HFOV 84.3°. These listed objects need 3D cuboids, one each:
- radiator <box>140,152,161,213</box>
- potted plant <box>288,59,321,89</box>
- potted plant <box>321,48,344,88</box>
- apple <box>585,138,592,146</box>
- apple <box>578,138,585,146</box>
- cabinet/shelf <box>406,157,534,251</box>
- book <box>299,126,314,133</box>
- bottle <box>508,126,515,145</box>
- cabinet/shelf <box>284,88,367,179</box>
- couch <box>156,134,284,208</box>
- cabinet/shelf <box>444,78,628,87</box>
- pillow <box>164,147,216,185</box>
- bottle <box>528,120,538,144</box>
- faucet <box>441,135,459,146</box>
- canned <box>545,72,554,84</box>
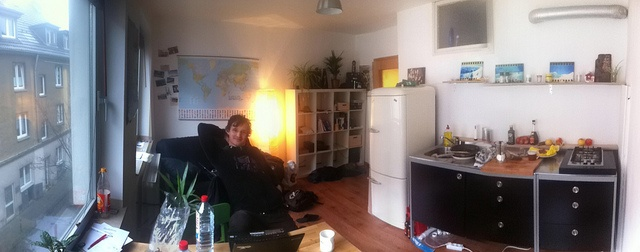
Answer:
[{"bbox_3d":[-3.296,1.132,6.845,0.420,0.770,1.096,0,10,-16],"label":"radiator"},{"bbox_3d":[-0.380,-1.316,9.126,0.906,0.479,0.802,-3,6,-25],"label":"potted plant"},{"bbox_3d":[0.355,-1.534,9.553,0.443,1.047,0.597,4,8,30],"label":"potted plant"},{"bbox_3d":[5.065,0.295,6.674,0.109,0.105,0.093,-24,-29,-2],"label":"apple"},{"bbox_3d":[4.935,0.296,6.700,0.110,0.137,0.105,4,8,31],"label":"apple"},{"bbox_3d":[3.155,1.335,7.030,2.815,1.261,1.615,1,0,33],"label":"cabinet/shelf"},{"bbox_3d":[-0.375,0.096,9.088,0.385,0.176,0.280,-2,6,-15],"label":"book"},{"bbox_3d":[3.792,0.160,7.004,0.144,0.362,0.159,3,8,26],"label":"bottle"},{"bbox_3d":[0.041,0.147,9.198,3.197,2.412,0.793,-2,1,-26],"label":"cabinet/shelf"},{"bbox_3d":[-2.314,0.944,7.528,1.989,1.190,1.833,-1,4,-23],"label":"couch"},{"bbox_3d":[4.034,-0.848,6.895,3.125,0.157,0.505,1,6,13],"label":"cabinet/shelf"},{"bbox_3d":[-2.865,1.018,7.611,0.911,0.776,1.360,-5,18,-18],"label":"pillow"},{"bbox_3d":[4.176,0.108,6.910,0.137,0.478,0.119,3,8,25],"label":"bottle"},{"bbox_3d":[2.701,0.311,7.250,0.333,0.198,0.255,0,6,0],"label":"faucet"},{"bbox_3d":[4.345,-0.918,6.714,0.146,0.181,0.166,3,7,28],"label":"canned"}]
